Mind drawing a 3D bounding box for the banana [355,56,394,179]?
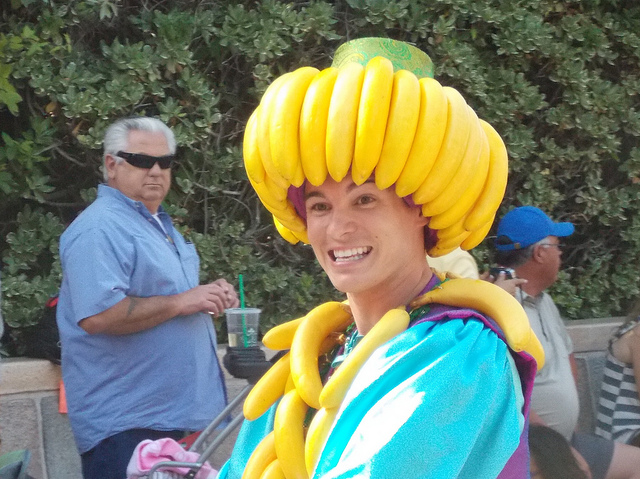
[{"bbox_3d":[0.273,-0.615,5.264,0.175,0.567,0.167,9,-9,1],"label":"banana"}]

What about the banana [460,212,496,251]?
[{"bbox_3d":[0.825,-0.013,5.542,0.080,0.325,0.116,38,57,4],"label":"banana"}]

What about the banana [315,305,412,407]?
[{"bbox_3d":[0.235,0.582,5.190,0.138,0.598,0.157,45,-9,40],"label":"banana"}]

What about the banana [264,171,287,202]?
[{"bbox_3d":[-0.229,-0.272,5.407,0.088,0.148,0.051,-11,31,9],"label":"banana"}]

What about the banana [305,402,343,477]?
[{"bbox_3d":[0.004,0.961,5.111,0.123,0.374,0.160,14,19,2],"label":"banana"}]

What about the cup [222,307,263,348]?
[{"bbox_3d":[-0.495,0.585,7.051,0.314,0.270,0.252,0,-4,4],"label":"cup"}]

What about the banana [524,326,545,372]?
[{"bbox_3d":[1.090,0.549,5.217,0.186,0.054,0.145,57,29,-20],"label":"banana"}]

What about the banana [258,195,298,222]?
[{"bbox_3d":[-0.190,-0.152,5.547,0.279,0.077,0.093,31,33,-53],"label":"banana"}]

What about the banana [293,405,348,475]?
[{"bbox_3d":[0.072,0.986,5.172,0.109,0.379,0.207,29,8,-48],"label":"banana"}]

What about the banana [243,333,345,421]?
[{"bbox_3d":[-0.112,0.721,5.489,0.195,0.706,0.163,50,-3,21],"label":"banana"}]
